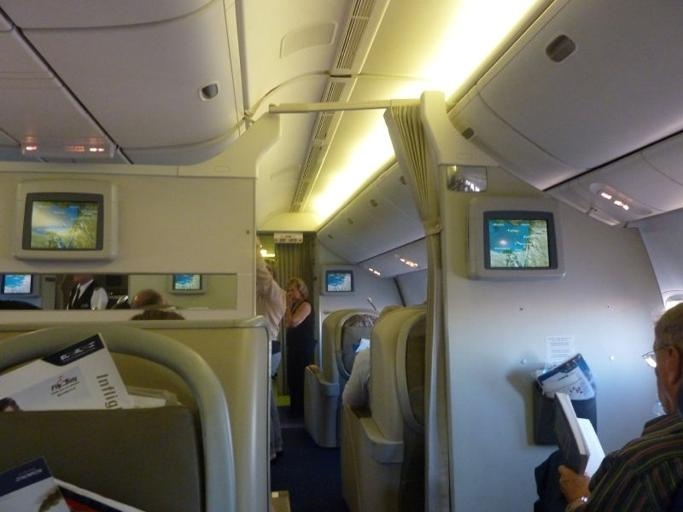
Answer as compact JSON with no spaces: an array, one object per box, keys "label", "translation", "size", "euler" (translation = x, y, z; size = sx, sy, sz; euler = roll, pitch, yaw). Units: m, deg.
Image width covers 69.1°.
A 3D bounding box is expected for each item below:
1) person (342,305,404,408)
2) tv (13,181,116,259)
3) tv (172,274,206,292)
[{"label":"person","translation":[0.143,0.948,4.335],"size":[0.550,0.799,0.781],"euler":[1,-1,-2]},{"label":"tv","translation":[-1.841,-0.223,3.244],"size":[0.454,0.437,0.167],"euler":[-1,-3,-3]},{"label":"tv","translation":[-1.033,0.179,3.331],"size":[0.207,0.132,0.045],"euler":[0,-9,-12]}]
